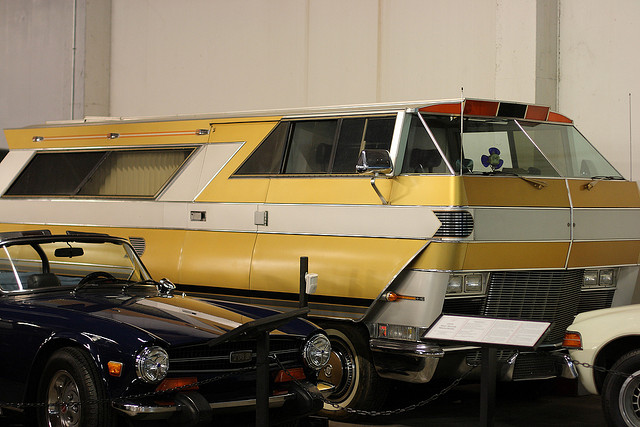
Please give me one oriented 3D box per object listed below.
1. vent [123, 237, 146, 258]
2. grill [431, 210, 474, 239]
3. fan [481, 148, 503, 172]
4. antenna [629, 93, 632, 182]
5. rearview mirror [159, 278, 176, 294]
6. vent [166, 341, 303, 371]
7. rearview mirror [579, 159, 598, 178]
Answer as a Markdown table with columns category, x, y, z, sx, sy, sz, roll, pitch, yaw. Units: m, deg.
| category | x | y | z | sx | sy | sz | roll | pitch | yaw |
| --- | --- | --- | --- | --- | --- | --- | --- | --- | --- |
| vent | -2.731 | 0.495 | 8.918 | 0.350 | 0.270 | 0.088 | -1 | -6 | 32 |
| grill | 1.580 | 0.140 | 7.077 | 0.441 | 0.190 | 0.590 | -5 | 13 | 22 |
| fan | 2.207 | -0.699 | 7.747 | 0.297 | 0.277 | 0.140 | 4 | -9 | -28 |
| antenna | 5.403 | -1.209 | 10.403 | 0.029 | 1.220 | 0.090 | 0 | -6 | 28 |
| rearview mirror | -1.662 | 0.808 | 6.583 | 0.149 | 0.150 | 0.181 | 5 | -5 | -31 |
| vent | -0.762 | 1.303 | 5.477 | 1.307 | 0.242 | 0.077 | 4 | -5 | -32 |
| rearview mirror | 3.670 | -0.607 | 8.197 | 0.270 | 0.236 | 0.145 | 3 | -7 | -35 |
